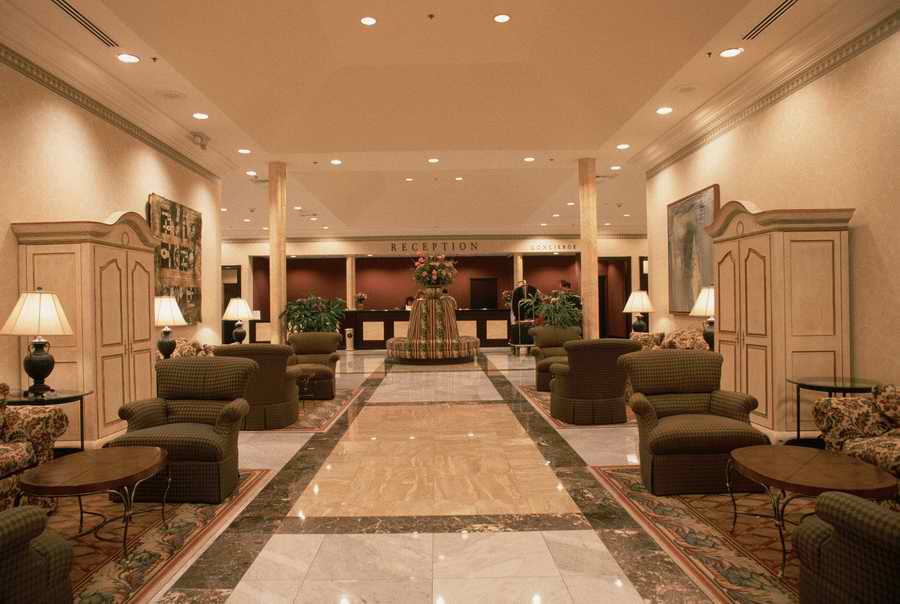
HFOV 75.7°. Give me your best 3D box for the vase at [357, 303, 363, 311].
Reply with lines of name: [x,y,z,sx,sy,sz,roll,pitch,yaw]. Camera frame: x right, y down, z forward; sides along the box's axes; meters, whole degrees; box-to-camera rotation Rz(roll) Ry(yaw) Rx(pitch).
vase: [-3.143,0.137,20.330,0.253,0.278,0.247,1,-2,-9]

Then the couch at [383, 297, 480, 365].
couch: [-0.413,0.747,14.842,1.816,1.236,1.789,0,-3,-1]

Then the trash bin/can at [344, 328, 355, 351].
trash bin/can: [-3.188,1.149,18.404,0.317,0.693,0.415,-3,7,-10]

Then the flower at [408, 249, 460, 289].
flower: [-0.464,-0.779,14.789,1.174,1.172,1.181,3,4,25]

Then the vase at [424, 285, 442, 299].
vase: [-0.415,-0.256,14.317,0.508,0.253,0.526,-2,7,-3]
